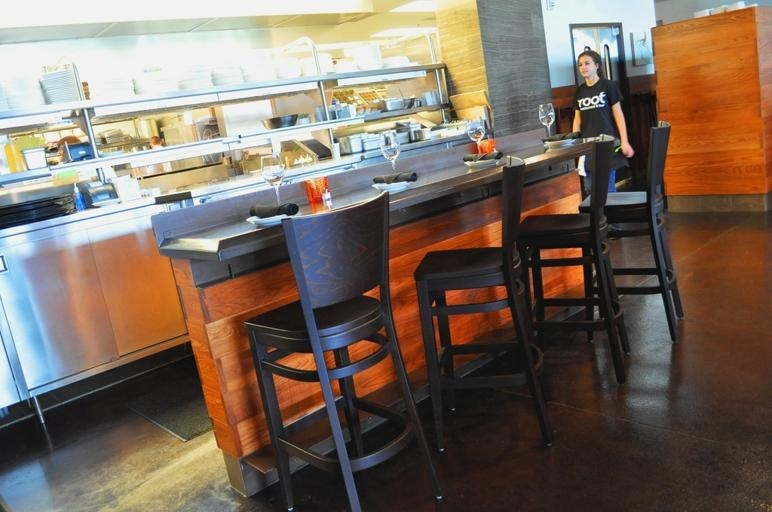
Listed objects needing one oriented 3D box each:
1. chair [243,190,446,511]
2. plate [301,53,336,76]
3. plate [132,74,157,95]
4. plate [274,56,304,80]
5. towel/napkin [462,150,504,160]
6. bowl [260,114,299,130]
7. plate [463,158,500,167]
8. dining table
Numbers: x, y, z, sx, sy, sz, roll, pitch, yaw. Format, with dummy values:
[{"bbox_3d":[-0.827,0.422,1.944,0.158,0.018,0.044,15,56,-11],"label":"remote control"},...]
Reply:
[{"bbox_3d":[-0.273,0.553,2.911,0.937,1.673,0.630,-12,19,1],"label":"chair"},{"bbox_3d":[-0.769,-2.122,6.194,0.406,0.227,0.349,-1,22,2],"label":"plate"},{"bbox_3d":[-2.364,-1.676,5.385,0.259,0.192,0.091,-2,3,-18],"label":"plate"},{"bbox_3d":[-1.035,-2.053,6.034,0.303,0.197,0.284,-15,20,21],"label":"plate"},{"bbox_3d":[0.711,-0.725,4.031,0.196,0.045,0.129,-9,5,8],"label":"towel/napkin"},{"bbox_3d":[-1.146,-1.448,5.971,0.284,0.066,0.252,-5,5,7],"label":"bowl"},{"bbox_3d":[0.681,-0.665,3.962,0.147,0.030,0.092,-2,2,24],"label":"plate"},{"bbox_3d":[0.002,0.435,3.453,2.841,1.347,0.703,-15,21,-32],"label":"dining table"}]
